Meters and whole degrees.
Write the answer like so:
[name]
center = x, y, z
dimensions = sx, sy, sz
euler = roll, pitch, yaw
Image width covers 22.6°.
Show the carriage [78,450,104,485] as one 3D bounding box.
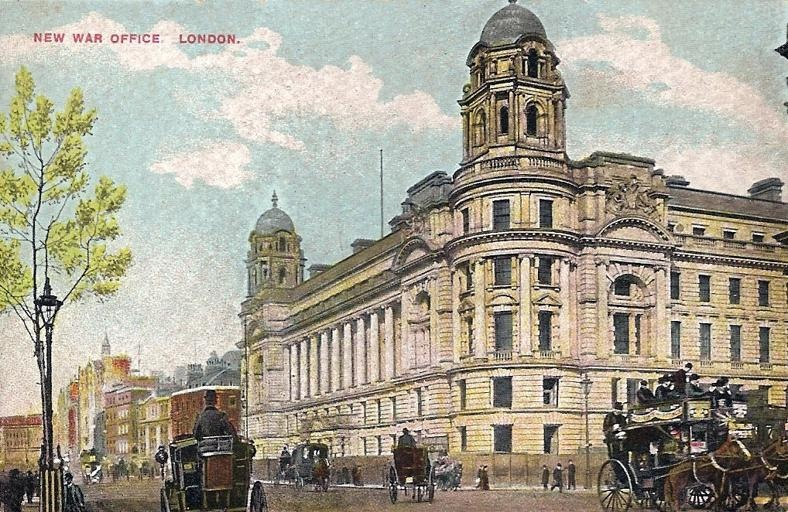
[carriage]
center = -26.401, 18.254, 172.853
dimensions = 1.308, 1.966, 4.038
euler = 8, -5, 16
